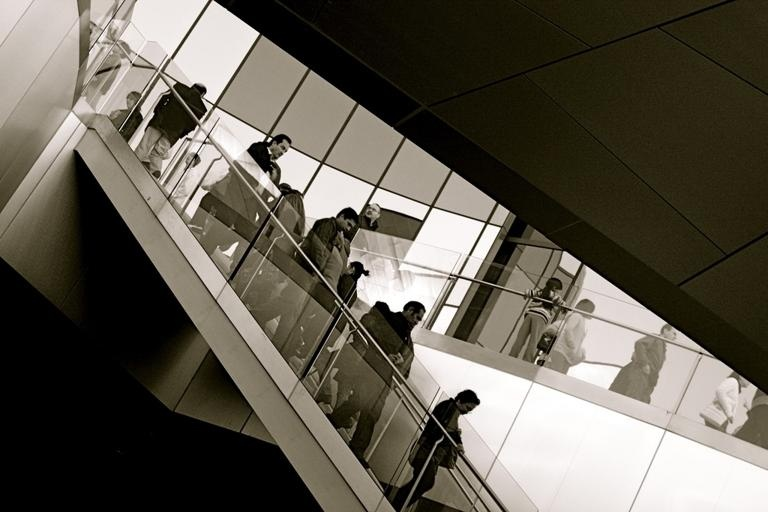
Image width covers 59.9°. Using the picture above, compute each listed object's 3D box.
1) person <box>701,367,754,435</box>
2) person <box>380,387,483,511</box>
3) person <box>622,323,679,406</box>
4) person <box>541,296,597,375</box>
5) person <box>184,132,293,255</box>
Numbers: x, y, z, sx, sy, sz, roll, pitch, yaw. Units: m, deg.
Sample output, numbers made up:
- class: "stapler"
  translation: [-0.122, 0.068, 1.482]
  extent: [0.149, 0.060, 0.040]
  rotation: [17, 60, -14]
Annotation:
- class: "person"
  translation: [5.192, 2.115, 10.068]
  extent: [0.530, 0.904, 0.490]
  rotation: [34, -6, -18]
- class: "person"
  translation: [0.567, 2.301, 7.572]
  extent: [0.591, 1.034, 0.309]
  rotation: [23, -10, -18]
- class: "person"
  translation: [4.148, 1.639, 10.405]
  extent: [0.585, 1.301, 0.300]
  rotation: [18, -9, 11]
- class: "person"
  translation: [3.003, 1.255, 10.871]
  extent: [0.660, 1.307, 0.249]
  rotation: [13, -10, 39]
- class: "person"
  translation: [-1.846, -0.807, 8.682]
  extent: [0.757, 2.095, 0.720]
  rotation: [-9, -41, 43]
